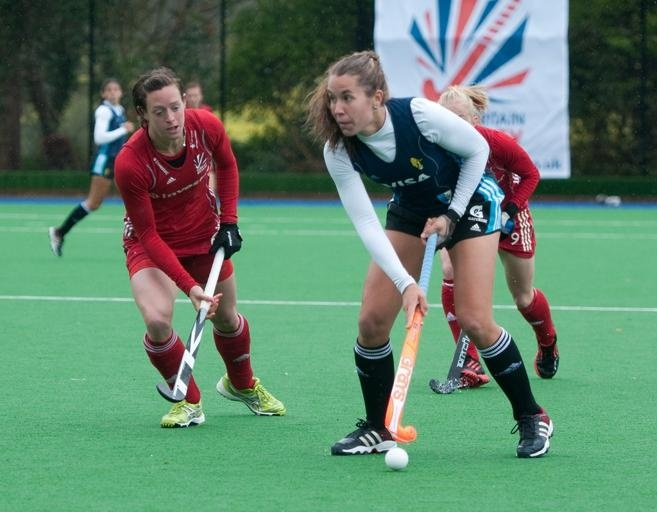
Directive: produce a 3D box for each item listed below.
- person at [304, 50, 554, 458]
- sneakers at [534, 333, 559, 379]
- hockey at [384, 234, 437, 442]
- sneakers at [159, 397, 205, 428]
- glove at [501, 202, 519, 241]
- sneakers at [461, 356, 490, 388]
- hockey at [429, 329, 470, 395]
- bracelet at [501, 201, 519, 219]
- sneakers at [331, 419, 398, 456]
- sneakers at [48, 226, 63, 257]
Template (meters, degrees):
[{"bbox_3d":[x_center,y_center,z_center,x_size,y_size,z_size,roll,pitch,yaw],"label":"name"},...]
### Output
[{"bbox_3d":[0.429,-0.007,3.792,1.031,1.911,0.833,-4,5,-15],"label":"person"},{"bbox_3d":[1.316,0.611,4.940,0.097,0.287,0.110,0,1,22],"label":"sneakers"},{"bbox_3d":[0.410,0.281,3.644,0.178,1.050,0.108,16,-25,-1],"label":"hockey"},{"bbox_3d":[-0.731,0.805,4.186,0.106,0.137,0.255,-6,-7,41],"label":"sneakers"},{"bbox_3d":[0.997,-0.201,4.498,0.071,0.206,0.143,15,-15,14],"label":"glove"},{"bbox_3d":[0.863,0.689,4.789,0.094,0.119,0.248,-14,-4,24],"label":"sneakers"},{"bbox_3d":[0.715,0.603,4.744,0.113,0.123,0.659,18,33,8],"label":"hockey"},{"bbox_3d":[1.008,-0.258,4.536,0.072,0.101,0.096,-7,5,9],"label":"bracelet"},{"bbox_3d":[0.165,0.846,3.856,0.310,0.161,0.133,0,-3,-22],"label":"sneakers"},{"bbox_3d":[-2.952,-0.146,8.828,0.135,0.350,0.120,8,21,31],"label":"sneakers"}]
